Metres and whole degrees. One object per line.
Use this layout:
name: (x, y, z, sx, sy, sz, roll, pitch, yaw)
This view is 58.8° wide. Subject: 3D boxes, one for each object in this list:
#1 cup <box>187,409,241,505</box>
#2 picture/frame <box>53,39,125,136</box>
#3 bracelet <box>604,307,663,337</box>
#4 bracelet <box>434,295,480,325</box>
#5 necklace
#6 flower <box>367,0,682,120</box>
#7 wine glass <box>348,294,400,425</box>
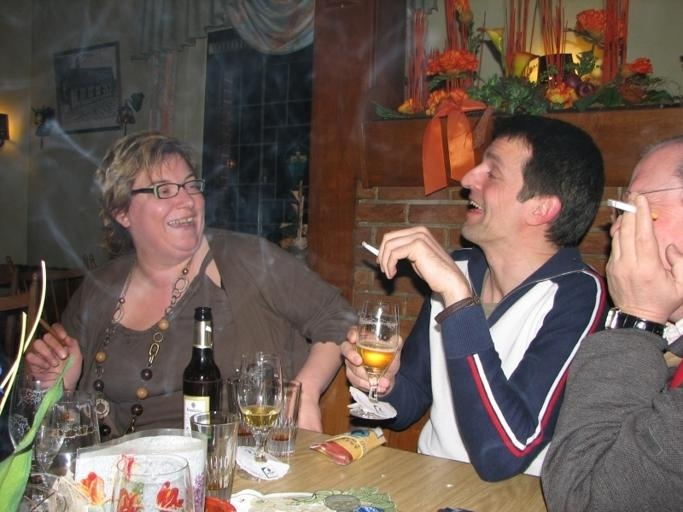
cup: (-0.284, 0.457, 1.383, 0.104, 0.188, 0.077, -3, 4, -20)
picture/frame: (-2.486, -1.691, 6.050, 1.267, 1.035, 0.101, 9, 7, 39)
bracelet: (0.748, 0.172, 1.565, 0.131, 0.071, 0.125, 11, -4, -13)
bracelet: (0.317, 0.150, 1.665, 0.118, 0.077, 0.054, -1, 4, 7)
necklace: (-0.661, 0.276, 1.992, 0.205, 0.644, 0.049, 10, -11, 6)
flower: (0.744, -0.717, 2.644, 1.267, 0.401, 0.898, -1, 1, 1)
wine glass: (0.098, 0.288, 1.732, 0.138, 0.322, 0.233, -1, 4, 8)
